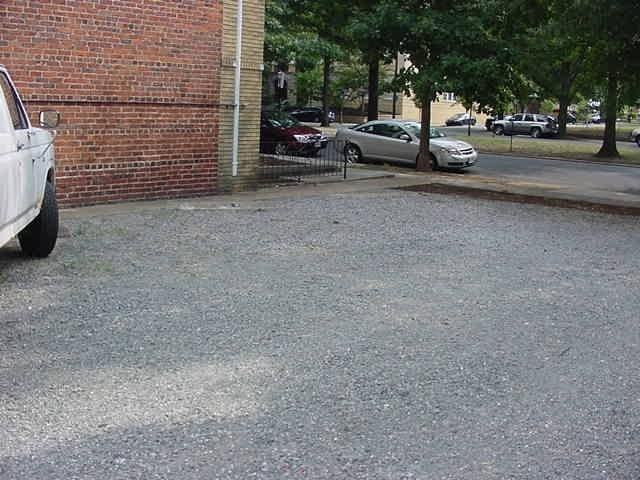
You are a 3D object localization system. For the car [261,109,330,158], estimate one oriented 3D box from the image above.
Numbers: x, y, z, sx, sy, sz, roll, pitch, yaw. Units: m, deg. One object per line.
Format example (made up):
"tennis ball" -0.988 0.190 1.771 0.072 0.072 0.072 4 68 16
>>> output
"car" -1.228 -4.383 26.461 3.254 1.380 1.684 9 17 27

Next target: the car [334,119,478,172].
"car" 3.324 -3.727 25.192 5.119 1.756 1.937 11 15 35
